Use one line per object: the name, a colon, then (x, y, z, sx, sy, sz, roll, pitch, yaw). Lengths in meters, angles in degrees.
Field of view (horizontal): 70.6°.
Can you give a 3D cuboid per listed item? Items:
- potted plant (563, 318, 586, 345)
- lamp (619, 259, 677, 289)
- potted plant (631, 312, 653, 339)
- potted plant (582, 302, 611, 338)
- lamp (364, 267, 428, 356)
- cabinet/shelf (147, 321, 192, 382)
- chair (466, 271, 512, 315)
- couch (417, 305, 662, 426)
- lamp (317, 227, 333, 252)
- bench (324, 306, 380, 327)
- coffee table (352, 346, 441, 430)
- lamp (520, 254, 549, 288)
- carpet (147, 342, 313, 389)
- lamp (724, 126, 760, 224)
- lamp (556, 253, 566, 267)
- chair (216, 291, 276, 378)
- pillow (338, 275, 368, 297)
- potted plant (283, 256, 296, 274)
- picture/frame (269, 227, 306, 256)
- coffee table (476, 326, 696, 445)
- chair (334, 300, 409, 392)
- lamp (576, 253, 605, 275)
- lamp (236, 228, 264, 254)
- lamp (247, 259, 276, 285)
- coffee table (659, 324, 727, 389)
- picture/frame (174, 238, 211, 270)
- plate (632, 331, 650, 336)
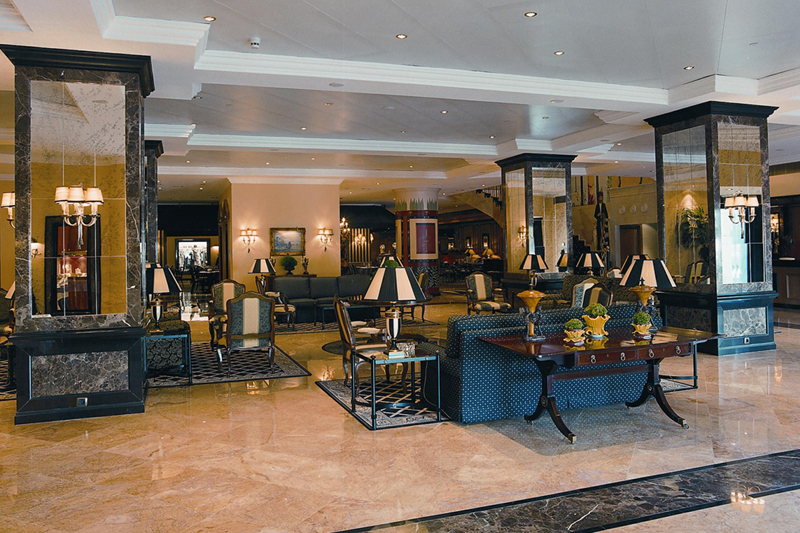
potted plant: (1.974, 0.734, 6.391, 0.312, 0.266, 0.281, -1, 2, -13)
lamp: (3.177, 0.098, 7.336, 0.544, 0.230, 0.499, 1, 6, 10)
potted plant: (2.845, 0.691, 6.678, 0.323, 0.262, 0.296, 1, 3, 12)
potted plant: (2.336, 0.634, 6.719, 0.371, 0.376, 0.351, 1, -2, -35)
lamp: (-0.090, 0.495, 6.876, 0.746, 1.007, 0.772, 0, 1, 43)
cabinet/shelf: (-3.546, 1.270, 8.667, 0.649, 0.827, 0.626, -4, 8, -23)
chair: (2.032, 0.765, 13.272, 0.907, 1.122, 0.894, -3, 7, -23)
couch: (1.398, 0.653, 6.734, 2.895, 1.152, 1.417, -1, 4, -15)
lamp: (-2.320, -0.867, 17.692, 0.756, 0.870, 0.705, -1, 5, -12)
bench: (-0.971, 1.012, 11.705, 1.025, 0.376, 0.474, 1, -5, -24)
coffee table: (-0.101, 1.521, 7.321, 0.884, 0.730, 1.352, 1, -7, -15)
lamp: (3.148, 0.113, 13.229, 0.642, 0.810, 0.829, 0, 7, 11)
carpet: (-3.175, 1.668, 9.599, 2.867, 0.033, 2.821, -2, 3, -12)
lamp: (5.852, -1.545, 9.613, 0.977, 1.681, 0.259, -5, 9, -27)
lamp: (3.931, -0.161, 13.655, 0.346, 0.297, 0.329, -1, -2, 12)
chair: (-2.427, 1.046, 8.990, 1.157, 1.175, 1.086, -5, -7, 27)
pillow: (-1.222, 0.484, 14.634, 1.066, 0.612, 0.519, 0, 2, -12)
potted plant: (-3.175, -0.054, 16.709, 0.491, 0.427, 0.459, 6, 10, 26)
picture/frame: (-3.501, -0.780, 17.346, 1.072, 0.754, 0.157, -1, 3, -23)
coffee table: (2.402, 1.354, 6.651, 2.547, 0.875, 1.191, 0, -4, -21)
chair: (-0.382, 1.091, 7.900, 1.002, 1.160, 0.832, 0, 1, -17)
lamp: (5.421, -0.048, 16.097, 0.844, 0.670, 0.764, -1, 7, 5)
lamp: (-4.572, -0.796, 17.064, 0.892, 0.836, 0.307, -2, 6, -24)
lamp: (-3.529, 0.113, 14.960, 0.934, 0.759, 0.786, -3, 9, -16)
coffee table: (4.165, 1.309, 8.010, 1.049, 0.436, 0.539, 2, 7, 25)
picture/frame: (-9.435, -0.593, 25.581, 1.765, 1.619, 0.134, 0, -2, -14)
plate: (2.841, 0.783, 6.632, 0.102, 0.033, 0.101, 1, 0, 34)
